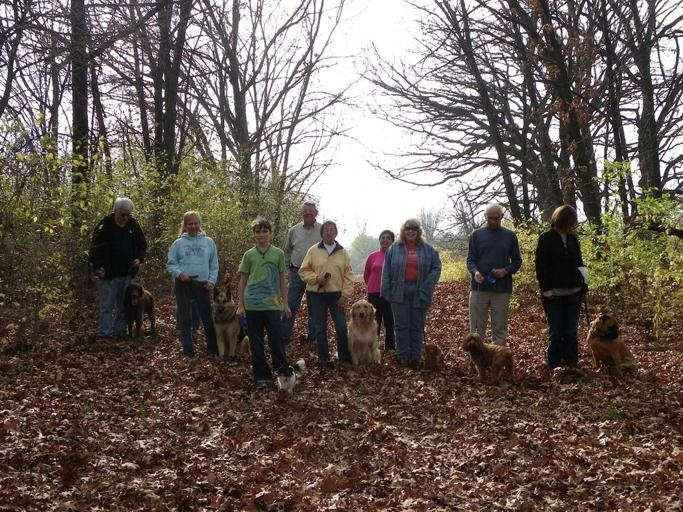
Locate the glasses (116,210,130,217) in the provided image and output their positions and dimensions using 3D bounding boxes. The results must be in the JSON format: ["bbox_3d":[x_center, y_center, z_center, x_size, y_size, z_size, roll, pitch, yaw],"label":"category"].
[{"bbox_3d":[-4.127,-0.808,10.984,0.144,0.063,0.135,3,-9,-5],"label":"glasses"}]

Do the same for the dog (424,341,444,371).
[{"bbox_3d":[1.604,1.746,10.128,0.355,0.423,0.306,-1,-2,6],"label":"dog"}]

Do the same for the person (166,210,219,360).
[{"bbox_3d":[-2.707,0.505,10.592,0.901,2.656,0.596,0,-1,-19],"label":"person"}]

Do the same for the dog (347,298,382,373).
[{"bbox_3d":[0.424,1.535,10.980,0.640,1.136,1.883,0,-14,0],"label":"dog"}]

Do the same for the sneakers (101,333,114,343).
[{"bbox_3d":[-4.509,1.561,11.112,0.239,0.146,0.627,0,-2,-22],"label":"sneakers"}]

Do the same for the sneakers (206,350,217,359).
[{"bbox_3d":[-2.402,1.825,10.810,0.135,0.040,0.103,19,38,37],"label":"sneakers"}]

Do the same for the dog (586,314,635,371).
[{"bbox_3d":[4.471,1.480,9.624,0.461,0.986,1.359,-4,-23,46],"label":"dog"}]

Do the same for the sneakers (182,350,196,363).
[{"bbox_3d":[-2.751,1.806,10.496,0.163,0.215,0.273,-32,-5,-31],"label":"sneakers"}]

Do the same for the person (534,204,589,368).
[{"bbox_3d":[3.634,0.508,9.635,0.790,2.688,0.393,-1,-1,12],"label":"person"}]

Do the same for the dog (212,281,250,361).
[{"bbox_3d":[-2.183,1.292,11.298,0.591,1.315,1.766,-1,-2,0],"label":"dog"}]

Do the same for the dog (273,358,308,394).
[{"bbox_3d":[-0.847,1.940,9.456,0.403,0.385,0.865,-1,-2,-2],"label":"dog"}]

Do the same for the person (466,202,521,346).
[{"bbox_3d":[2.625,0.326,10.036,0.875,2.448,0.618,-1,-1,12],"label":"person"}]

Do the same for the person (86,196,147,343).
[{"bbox_3d":[-4.352,0.227,11.299,0.810,2.680,0.909,-1,-1,10],"label":"person"}]

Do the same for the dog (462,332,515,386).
[{"bbox_3d":[2.376,1.674,9.542,0.799,0.746,0.392,5,-8,5],"label":"dog"}]

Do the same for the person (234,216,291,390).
[{"bbox_3d":[-1.230,0.713,9.235,0.823,2.662,0.488,0,-1,-11],"label":"person"}]

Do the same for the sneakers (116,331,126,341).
[{"bbox_3d":[-4.395,1.589,11.564,0.099,0.198,0.334,3,0,-19],"label":"sneakers"}]

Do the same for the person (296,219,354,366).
[{"bbox_3d":[-0.247,0.657,10.456,0.931,2.531,0.661,-2,-2,29],"label":"person"}]

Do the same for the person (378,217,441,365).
[{"bbox_3d":[1.218,0.610,10.275,1.025,2.527,0.380,-1,-1,4],"label":"person"}]
